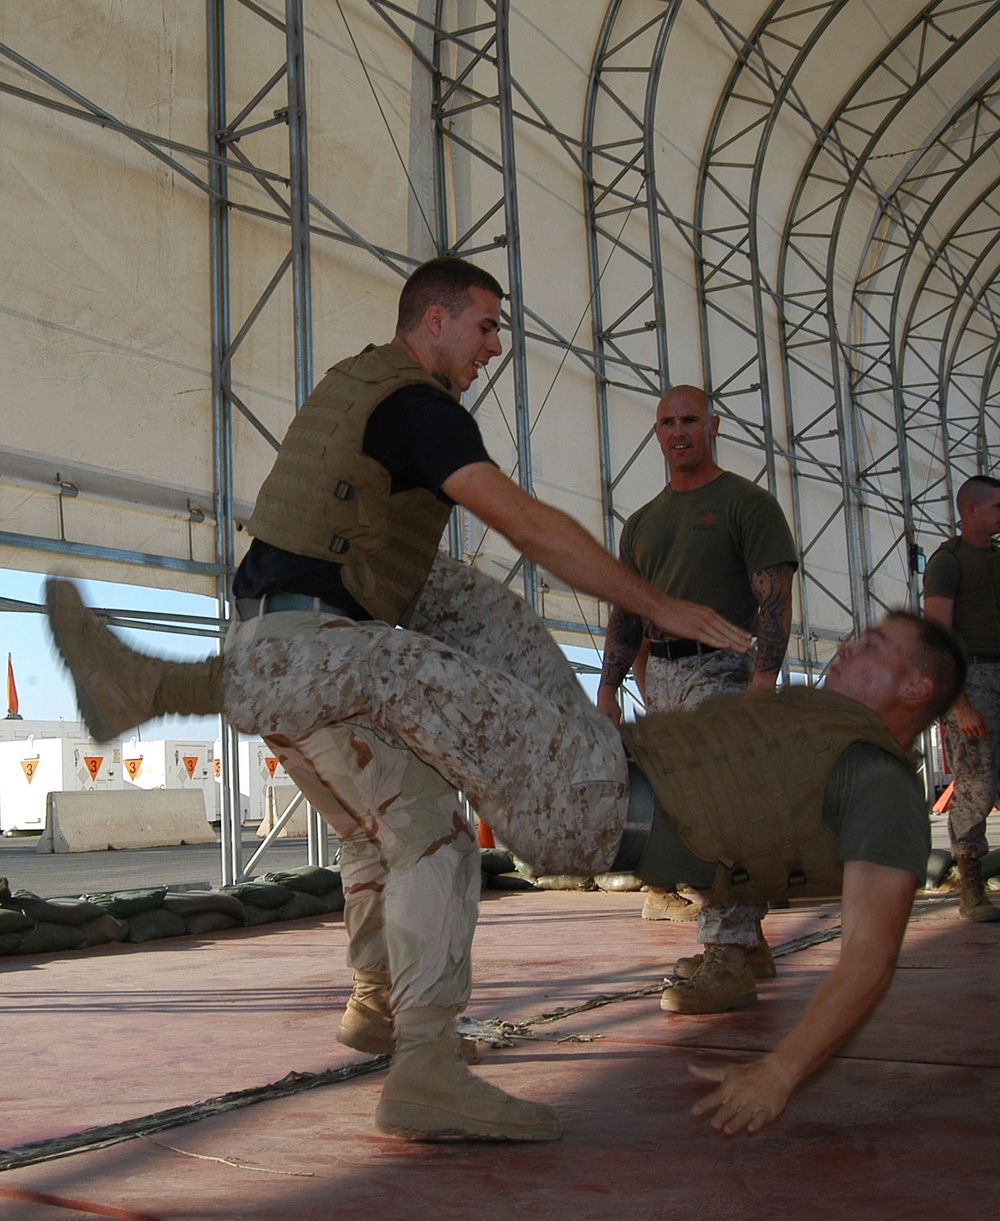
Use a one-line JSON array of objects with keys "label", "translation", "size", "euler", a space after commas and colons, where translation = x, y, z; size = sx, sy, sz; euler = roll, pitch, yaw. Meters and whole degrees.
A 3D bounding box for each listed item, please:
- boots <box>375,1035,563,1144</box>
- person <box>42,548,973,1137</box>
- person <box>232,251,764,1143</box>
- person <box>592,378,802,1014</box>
[{"label": "boots", "translation": [-0.011, 0.699, 1.844], "size": [0.341, 0.167, 0.102], "euler": [1, -9, -2]}, {"label": "person", "translation": [0.035, 0.309, 1.974], "size": [1.340, 0.631, 0.907], "euler": [1, 3, 8]}, {"label": "person", "translation": [0.006, 0.127, 2.108], "size": [1.066, 1.309, 0.744], "euler": [1, 2, 24]}, {"label": "person", "translation": [0.465, 0.237, 3.712], "size": [0.767, 1.727, 0.509], "euler": [3, 16, -8]}]
